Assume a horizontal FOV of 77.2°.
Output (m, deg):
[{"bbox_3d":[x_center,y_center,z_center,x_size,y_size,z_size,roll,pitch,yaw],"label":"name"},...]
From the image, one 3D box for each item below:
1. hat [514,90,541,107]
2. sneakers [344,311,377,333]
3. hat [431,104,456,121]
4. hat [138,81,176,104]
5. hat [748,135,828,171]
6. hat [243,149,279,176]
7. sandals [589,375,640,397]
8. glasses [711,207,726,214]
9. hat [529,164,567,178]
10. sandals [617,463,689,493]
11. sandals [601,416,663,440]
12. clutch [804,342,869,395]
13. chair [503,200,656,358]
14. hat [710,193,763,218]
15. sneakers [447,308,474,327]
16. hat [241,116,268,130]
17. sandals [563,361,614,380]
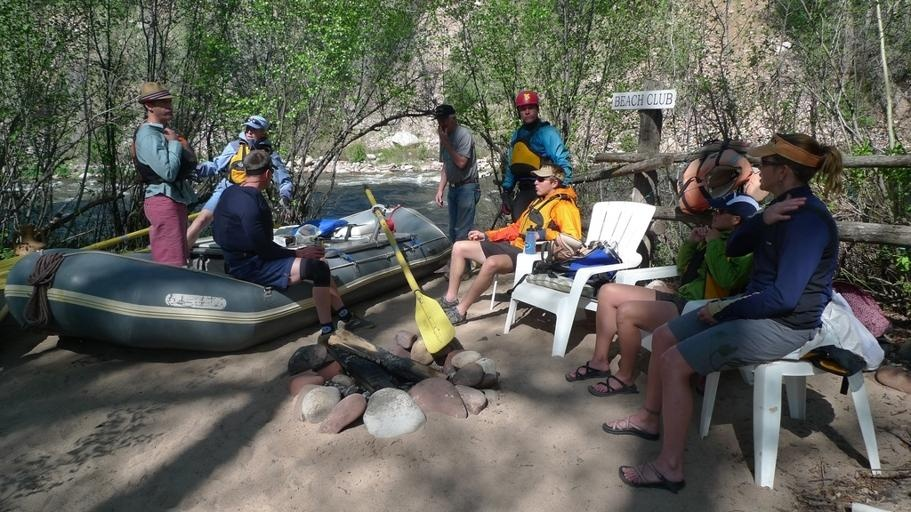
[{"bbox_3d":[1.082,-2.366,8.511,0.295,0.190,0.407,-4,1,13],"label":"hat"},{"bbox_3d":[-1.496,0.970,8.286,0.622,0.230,0.186,-11,9,21],"label":"sneakers"},{"bbox_3d":[-0.168,-2.318,9.076,0.281,0.272,0.330,0,8,9],"label":"hat"},{"bbox_3d":[-4.101,-2.195,7.748,0.375,0.135,0.310,-5,9,19],"label":"hat"},{"bbox_3d":[3.258,-1.010,5.556,0.471,0.144,0.310,19,6,27],"label":"hat"},{"bbox_3d":[-2.555,-1.261,7.463,0.299,0.216,0.414,2,30,-3],"label":"hat"},{"bbox_3d":[1.768,1.462,6.420,0.460,0.156,0.247,0,-4,-2],"label":"sandals"},{"bbox_3d":[2.975,-0.518,6.481,0.081,0.031,0.080,10,-7,-6],"label":"glasses"},{"bbox_3d":[1.242,-1.133,7.613,0.310,0.096,0.193,0,0,-12],"label":"hat"},{"bbox_3d":[1.956,2.182,5.617,0.599,0.202,0.268,7,11,15],"label":"sandals"},{"bbox_3d":[1.847,1.774,5.995,0.500,0.152,0.241,7,1,20],"label":"sandals"},{"bbox_3d":[3.777,1.091,5.720,0.458,0.464,0.375,-23,22,-22],"label":"clutch"},{"bbox_3d":[1.822,0.102,7.898,2.342,1.875,1.655,-11,17,-32],"label":"chair"},{"bbox_3d":[3.066,-0.585,6.273,0.470,0.236,0.294,15,10,37],"label":"hat"},{"bbox_3d":[0.052,0.875,7.911,0.137,0.153,0.378,30,7,39],"label":"sneakers"},{"bbox_3d":[-3.148,-2.128,9.024,0.286,0.248,0.531,-3,8,-11],"label":"hat"},{"bbox_3d":[1.581,1.346,6.735,0.523,0.208,0.213,1,1,5],"label":"sandals"}]
